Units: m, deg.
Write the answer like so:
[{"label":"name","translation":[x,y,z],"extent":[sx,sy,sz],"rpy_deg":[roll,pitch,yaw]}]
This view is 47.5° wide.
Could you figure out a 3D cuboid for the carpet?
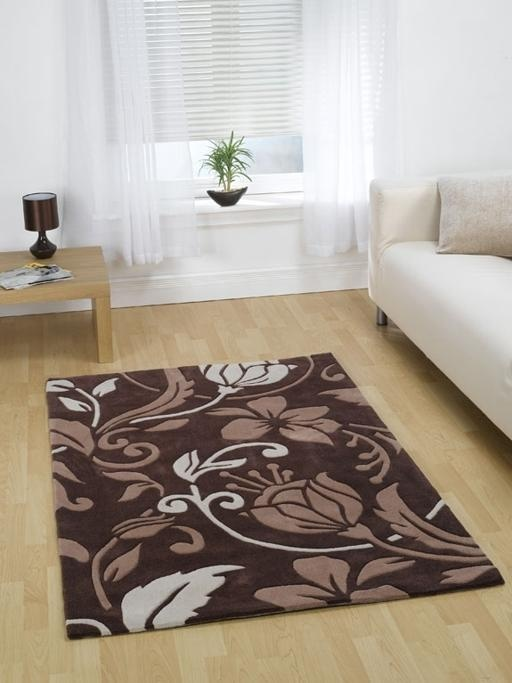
[{"label":"carpet","translation":[-0.042,0.343,1.729],"extent":[0.968,0.014,1.261],"rpy_deg":[-3,18,-13]}]

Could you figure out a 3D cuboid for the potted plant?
[{"label":"potted plant","translation":[-0.146,-0.901,3.028],"extent":[0.281,0.364,0.322],"rpy_deg":[-4,20,-2]}]
